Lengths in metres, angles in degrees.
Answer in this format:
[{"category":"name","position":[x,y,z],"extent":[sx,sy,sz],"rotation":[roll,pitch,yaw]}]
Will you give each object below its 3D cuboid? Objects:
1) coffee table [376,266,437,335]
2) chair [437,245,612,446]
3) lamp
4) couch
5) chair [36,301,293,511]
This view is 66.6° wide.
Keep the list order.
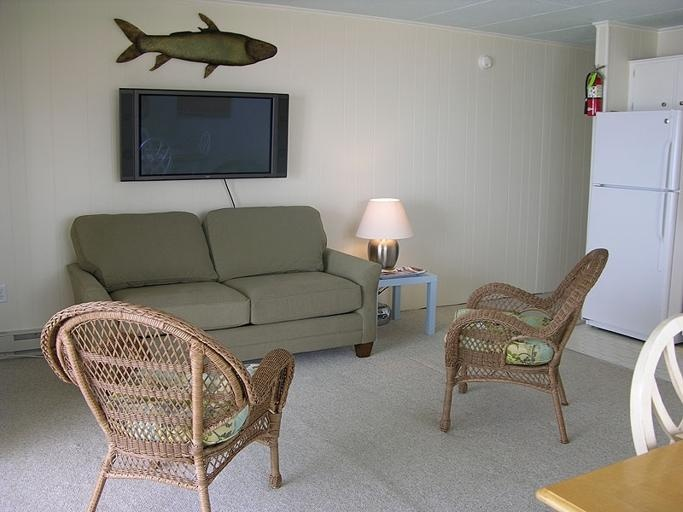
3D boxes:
[{"category":"coffee table","position":[0.548,0.360,4.650],"extent":[0.582,0.535,0.557],"rotation":[-2,6,-13]},{"category":"chair","position":[1.049,0.476,3.103],"extent":[0.946,0.976,0.834],"rotation":[4,11,36]},{"category":"lamp","position":[0.387,-0.197,4.688],"extent":[0.563,0.615,0.545],"rotation":[-4,10,-24]},{"category":"couch","position":[-0.866,0.237,3.963],"extent":[2.086,1.059,1.042],"rotation":[-5,14,-32]},{"category":"chair","position":[-0.796,0.697,2.258],"extent":[0.735,0.875,0.675],"rotation":[7,21,10]}]
